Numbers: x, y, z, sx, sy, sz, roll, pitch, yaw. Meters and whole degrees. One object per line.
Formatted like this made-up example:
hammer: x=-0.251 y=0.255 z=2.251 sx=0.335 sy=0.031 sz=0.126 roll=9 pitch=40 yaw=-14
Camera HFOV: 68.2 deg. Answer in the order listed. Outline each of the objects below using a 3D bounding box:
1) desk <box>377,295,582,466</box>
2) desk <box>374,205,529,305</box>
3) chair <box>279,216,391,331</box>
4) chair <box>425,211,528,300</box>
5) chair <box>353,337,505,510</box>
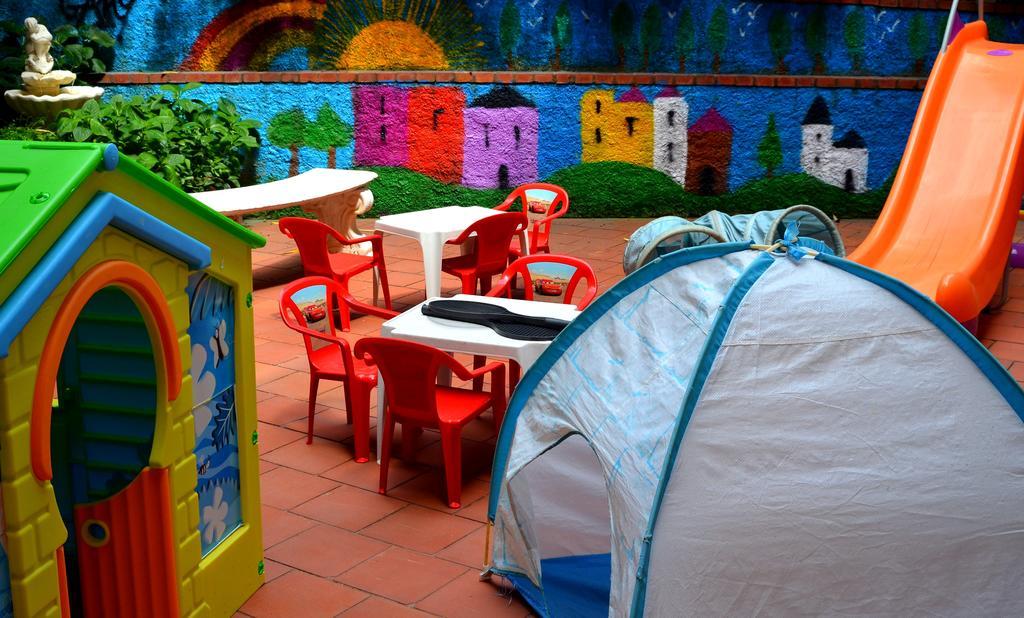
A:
desk: x=-0.179 y=0.534 z=5.533 sx=1.303 sy=0.863 sz=1.245 roll=6 pitch=15 yaw=23
desk: x=-0.672 y=-0.794 z=7.711 sx=1.410 sy=0.686 sz=1.063 roll=11 pitch=19 yaw=39
chair: x=-1.720 y=-0.405 z=7.295 sx=0.966 sy=0.966 sz=0.877 roll=-6 pitch=19 yaw=-19
chair: x=-0.355 y=-0.532 z=7.284 sx=0.737 sy=0.926 sz=0.697 roll=-21 pitch=37 yaw=-32
chair: x=-0.575 y=0.770 z=4.970 sx=0.836 sy=1.028 sz=0.783 roll=9 pitch=25 yaw=23
